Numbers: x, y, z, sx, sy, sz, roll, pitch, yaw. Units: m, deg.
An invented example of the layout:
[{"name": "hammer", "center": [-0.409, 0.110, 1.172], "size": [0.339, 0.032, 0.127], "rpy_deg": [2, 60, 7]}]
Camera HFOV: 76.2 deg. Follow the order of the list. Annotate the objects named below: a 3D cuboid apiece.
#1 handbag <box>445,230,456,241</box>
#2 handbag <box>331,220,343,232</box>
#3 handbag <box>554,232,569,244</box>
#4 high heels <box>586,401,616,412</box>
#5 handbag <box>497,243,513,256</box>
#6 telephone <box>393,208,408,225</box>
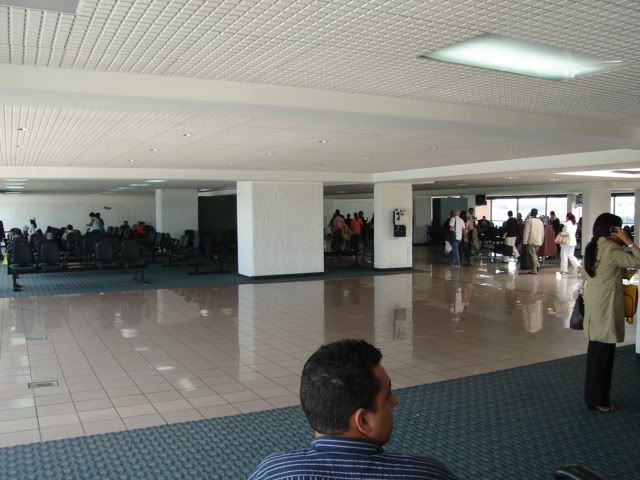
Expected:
[{"name": "handbag", "center": [4.774, -0.163, 14.808], "size": [0.458, 0.322, 0.680], "rpy_deg": [1, -2, 19]}, {"name": "handbag", "center": [0.762, -0.629, 17.530], "size": [0.787, 0.583, 0.380], "rpy_deg": [1, 2, 2]}, {"name": "handbag", "center": [7.600, -0.068, 12.747], "size": [0.580, 0.429, 0.280], "rpy_deg": [1, 2, -7]}, {"name": "high heels", "center": [2.723, 1.596, 3.940], "size": [0.246, 0.056, 0.084], "rpy_deg": [-2, 5, 6]}, {"name": "handbag", "center": [7.860, 0.381, 17.336], "size": [0.772, 0.413, 0.678], "rpy_deg": [0, -1, 5]}, {"name": "telephone", "center": [2.751, -0.804, 13.875], "size": [0.565, 0.464, 0.161], "rpy_deg": [-3, 3, -22]}]
